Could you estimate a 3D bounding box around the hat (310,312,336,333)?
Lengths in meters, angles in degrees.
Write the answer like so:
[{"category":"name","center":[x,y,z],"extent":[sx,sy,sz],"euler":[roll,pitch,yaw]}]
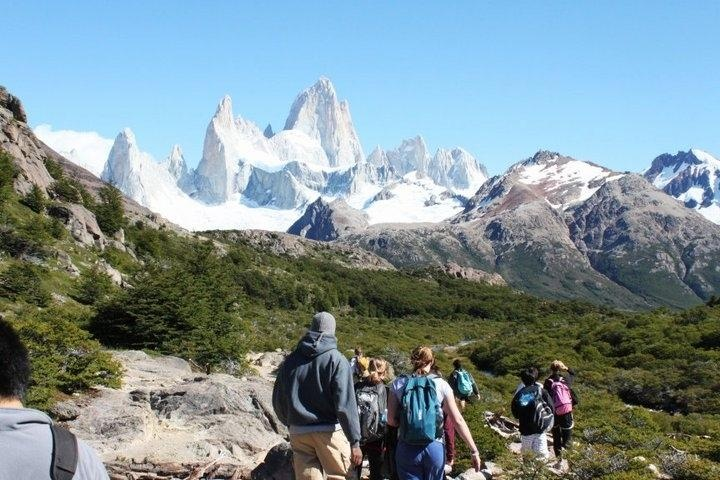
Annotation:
[{"category":"hat","center":[-1.667,4.005,31.198],"extent":[0.905,0.887,1.124],"euler":[-1,-11,11]}]
